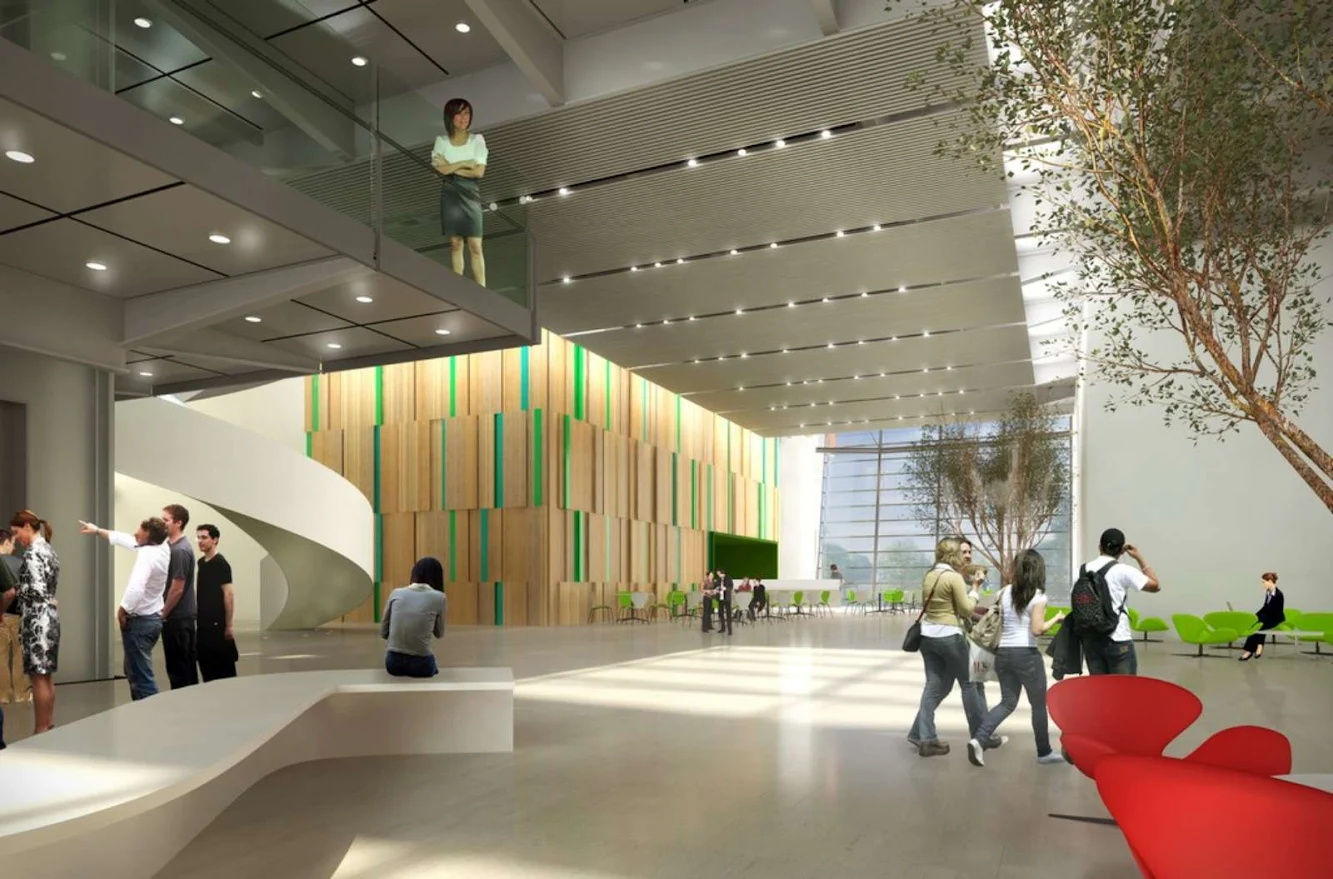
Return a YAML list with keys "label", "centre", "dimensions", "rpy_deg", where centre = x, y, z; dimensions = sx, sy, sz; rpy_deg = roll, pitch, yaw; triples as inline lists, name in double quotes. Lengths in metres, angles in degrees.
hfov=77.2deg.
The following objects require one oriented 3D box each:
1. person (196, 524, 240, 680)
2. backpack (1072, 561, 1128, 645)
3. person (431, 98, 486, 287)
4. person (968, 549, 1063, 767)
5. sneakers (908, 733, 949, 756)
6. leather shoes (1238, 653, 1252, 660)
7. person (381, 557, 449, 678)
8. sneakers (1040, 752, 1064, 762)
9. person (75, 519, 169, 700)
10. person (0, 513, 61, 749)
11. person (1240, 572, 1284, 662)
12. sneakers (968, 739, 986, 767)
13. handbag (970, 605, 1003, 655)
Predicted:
- label: "person"
  centre: [-4.425, 1.616, 8.198]
  dimensions: [0.371, 1.534, 0.666]
  rpy_deg: [3, -6, -29]
- label: "backpack"
  centre: [3.566, 1.363, 6.830]
  dimensions: [0.381, 0.712, 0.468]
  rpy_deg: [16, -20, -25]
- label: "person"
  centre: [-2.587, -3.105, 10.523]
  dimensions: [0.794, 2.170, 0.547]
  rpy_deg: [3, -6, -32]
- label: "person"
  centre: [2.955, 1.837, 7.075]
  dimensions: [0.654, 1.786, 1.077]
  rpy_deg: [-2, -6, 26]
- label: "sneakers"
  centre: [2.339, 2.718, 7.386]
  dimensions: [0.375, 0.164, 0.147]
  rpy_deg: [0, -1, -30]
- label: "leather shoes"
  centre: [10.163, 3.818, 14.605]
  dimensions: [0.108, 0.151, 0.380]
  rpy_deg: [-8, -18, 39]
- label: "person"
  centre: [-2.346, 1.651, 7.743]
  dimensions: [0.522, 1.081, 0.599]
  rpy_deg: [2, -5, -19]
- label: "sneakers"
  centre: [3.310, 2.721, 7.144]
  dimensions: [0.165, 0.069, 0.087]
  rpy_deg: [0, -3, -9]
- label: "person"
  centre: [-4.778, 1.552, 7.632]
  dimensions: [0.441, 1.666, 0.354]
  rpy_deg: [-1, -5, 21]
- label: "person"
  centre: [-5.540, 1.582, 7.281]
  dimensions: [0.337, 1.865, 0.514]
  rpy_deg: [5, -7, -44]
- label: "person"
  centre: [11.018, 3.244, 15.397]
  dimensions: [0.660, 1.522, 2.781]
  rpy_deg: [-3, -7, 36]
- label: "sneakers"
  centre: [2.599, 2.614, 6.984]
  dimensions: [0.109, 0.269, 0.102]
  rpy_deg: [-12, 7, -36]
- label: "handbag"
  centre: [2.744, 1.641, 7.123]
  dimensions: [0.201, 0.401, 0.313]
  rpy_deg: [29, -13, 28]
